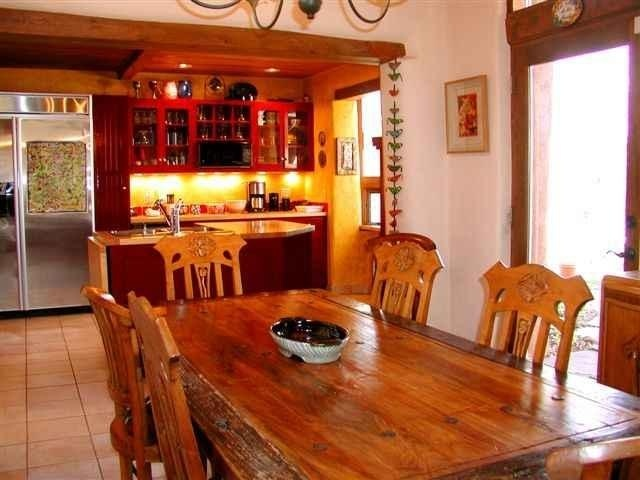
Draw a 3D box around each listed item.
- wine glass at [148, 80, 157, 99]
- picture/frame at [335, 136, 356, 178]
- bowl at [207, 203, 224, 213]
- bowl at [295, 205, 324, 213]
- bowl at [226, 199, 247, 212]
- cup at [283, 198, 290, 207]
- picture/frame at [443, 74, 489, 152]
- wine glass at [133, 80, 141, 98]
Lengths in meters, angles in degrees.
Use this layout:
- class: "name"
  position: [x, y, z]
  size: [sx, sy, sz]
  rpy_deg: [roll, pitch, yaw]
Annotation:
- class: "wine glass"
  position: [-2.392, -2.151, 7.162]
  size: [0.119, 0.263, 0.228]
  rpy_deg: [-3, 10, -17]
- class: "picture/frame"
  position: [0.397, -1.217, 7.352]
  size: [0.343, 0.519, 0.098]
  rpy_deg: [-6, 11, -29]
- class: "bowl"
  position: [-1.550, -0.466, 7.470]
  size: [0.163, 0.098, 0.153]
  rpy_deg: [0, 2, 0]
- class: "bowl"
  position: [-0.167, -0.475, 7.652]
  size: [0.323, 0.097, 0.448]
  rpy_deg: [-7, 12, -32]
- class: "bowl"
  position: [-1.284, -0.500, 7.607]
  size: [0.313, 0.185, 0.322]
  rpy_deg: [0, 10, 0]
- class: "cup"
  position: [-0.522, -0.570, 7.798]
  size: [0.115, 0.137, 0.118]
  rpy_deg: [0, 7, 0]
- class: "picture/frame"
  position: [1.310, -1.108, 4.477]
  size: [0.125, 0.649, 0.600]
  rpy_deg: [-3, 10, -15]
- class: "wine glass"
  position: [-2.617, -2.168, 7.145]
  size: [0.113, 0.262, 0.341]
  rpy_deg: [-4, 11, -20]
